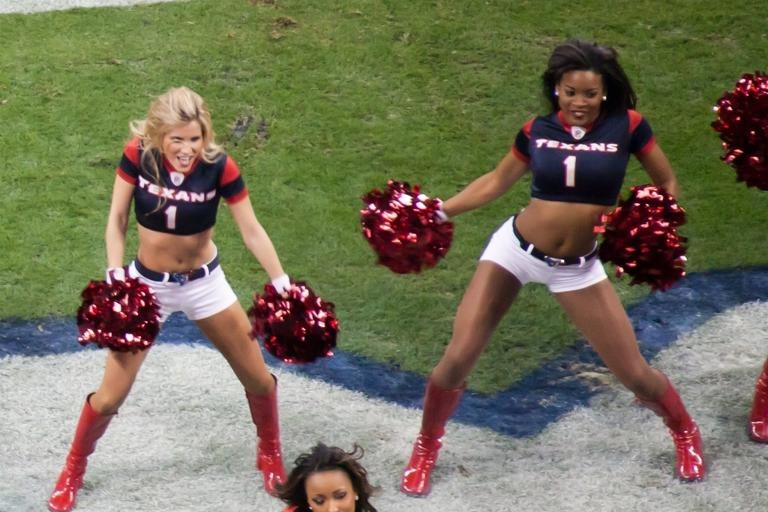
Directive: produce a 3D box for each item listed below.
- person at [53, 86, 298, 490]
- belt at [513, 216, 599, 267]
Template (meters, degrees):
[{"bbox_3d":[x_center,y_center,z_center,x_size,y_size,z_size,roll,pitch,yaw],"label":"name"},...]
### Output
[{"bbox_3d":[-1.166,0.218,5.772,1.208,2.533,0.722,12,32,18],"label":"person"},{"bbox_3d":[1.104,-0.073,5.646,0.600,0.222,0.209,12,31,19],"label":"belt"}]
